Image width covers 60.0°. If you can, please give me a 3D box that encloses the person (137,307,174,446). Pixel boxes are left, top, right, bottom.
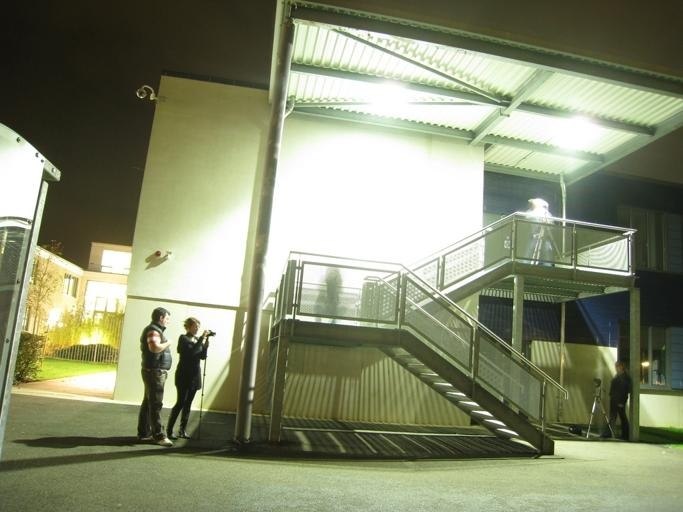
[{"bbox_3d":[-2.927,1.993,9.255,0.493,1.834,0.561,11,-9,-42],"label":"person"}]

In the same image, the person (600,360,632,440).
[{"bbox_3d":[6.539,3.373,13.923,0.533,1.741,1.299,2,-7,24],"label":"person"}]

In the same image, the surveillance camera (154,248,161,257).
[{"bbox_3d":[-4.255,-0.065,13.627,0.135,0.125,0.130,4,-15,-20],"label":"surveillance camera"}]
